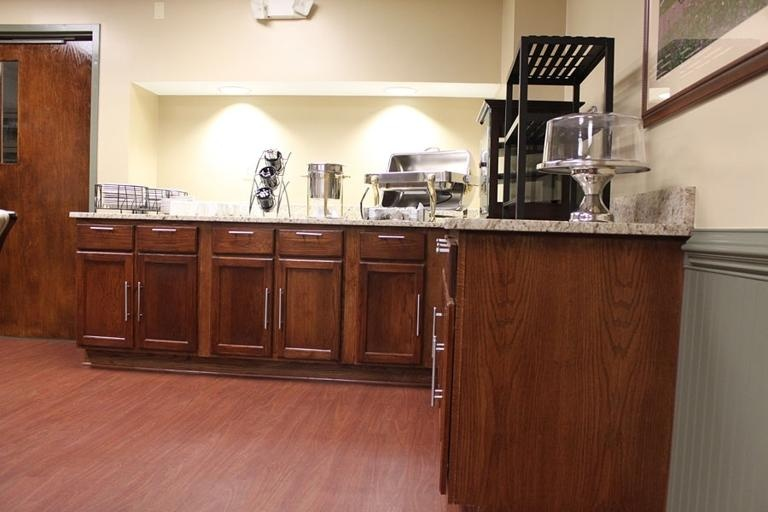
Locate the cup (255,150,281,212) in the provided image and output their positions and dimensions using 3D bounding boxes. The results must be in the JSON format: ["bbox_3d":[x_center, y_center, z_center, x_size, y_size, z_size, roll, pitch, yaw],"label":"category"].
[{"bbox_3d":[-0.895,-0.582,4.435,0.206,0.483,0.592,-2,10,-13],"label":"cup"}]
